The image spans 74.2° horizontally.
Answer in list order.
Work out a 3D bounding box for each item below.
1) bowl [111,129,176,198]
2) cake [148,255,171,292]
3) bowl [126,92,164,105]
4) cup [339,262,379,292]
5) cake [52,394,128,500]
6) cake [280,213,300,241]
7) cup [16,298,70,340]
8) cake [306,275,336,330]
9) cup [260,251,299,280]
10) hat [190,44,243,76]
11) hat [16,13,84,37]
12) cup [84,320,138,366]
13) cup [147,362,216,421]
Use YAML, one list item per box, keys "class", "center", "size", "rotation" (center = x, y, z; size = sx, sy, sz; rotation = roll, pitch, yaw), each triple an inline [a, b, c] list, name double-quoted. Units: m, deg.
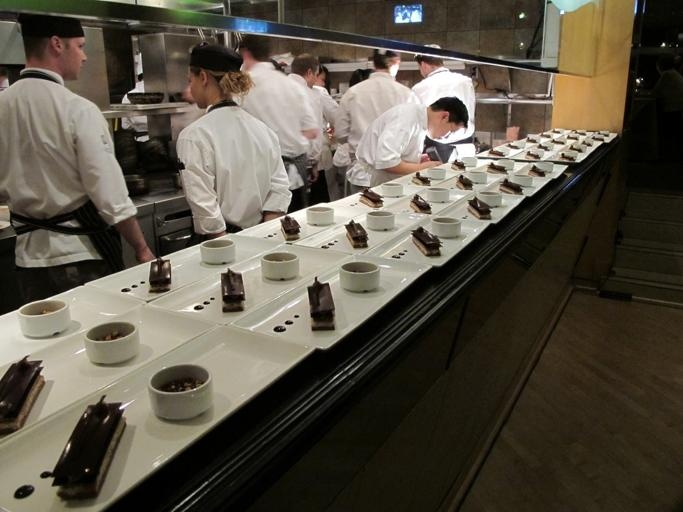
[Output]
- class: "bowl"
  center: [-1.411, -0.678, 3.248]
  size: [0.523, 0.569, 0.133]
  rotation: [-9, -8, -45]
- class: "cake"
  center: [-0.503, 0.045, 1.270]
  size: [0.062, 0.067, 0.109]
  rotation: [0, 32, -18]
- class: "bowl"
  center: [-1.359, -1.092, 3.129]
  size: [0.152, 0.047, 0.152]
  rotation: [1, 16, 0]
- class: "cup"
  center: [0.046, 0.040, 1.264]
  size: [0.088, 0.053, 0.090]
  rotation: [2, 23, -1]
- class: "cake"
  center: [-0.389, 0.304, 0.708]
  size: [0.074, 0.047, 0.195]
  rotation: [3, 34, -5]
- class: "cake"
  center: [-0.189, -0.105, 1.659]
  size: [0.068, 0.055, 0.164]
  rotation: [-2, 24, -11]
- class: "cup"
  center: [-0.687, 0.143, 1.040]
  size: [0.093, 0.061, 0.093]
  rotation: [7, 25, -3]
- class: "cake"
  center: [-0.044, 0.123, 1.104]
  size: [0.072, 0.057, 0.194]
  rotation: [-2, 30, -1]
- class: "cup"
  center: [-0.193, 0.020, 1.339]
  size: [0.089, 0.054, 0.091]
  rotation: [2, 16, -1]
- class: "hat"
  center: [-0.614, -0.936, 2.212]
  size: [0.190, 0.080, 0.151]
  rotation: [-7, 42, -24]
- class: "hat"
  center: [-1.117, -0.883, 1.738]
  size: [0.210, 0.068, 0.248]
  rotation: [-13, 22, -31]
- class: "cup"
  center: [-0.484, 0.178, 0.959]
  size: [0.090, 0.061, 0.093]
  rotation: [7, 17, -2]
- class: "cup"
  center: [-0.296, 0.249, 0.825]
  size: [0.095, 0.057, 0.098]
  rotation: [3, 14, -1]
